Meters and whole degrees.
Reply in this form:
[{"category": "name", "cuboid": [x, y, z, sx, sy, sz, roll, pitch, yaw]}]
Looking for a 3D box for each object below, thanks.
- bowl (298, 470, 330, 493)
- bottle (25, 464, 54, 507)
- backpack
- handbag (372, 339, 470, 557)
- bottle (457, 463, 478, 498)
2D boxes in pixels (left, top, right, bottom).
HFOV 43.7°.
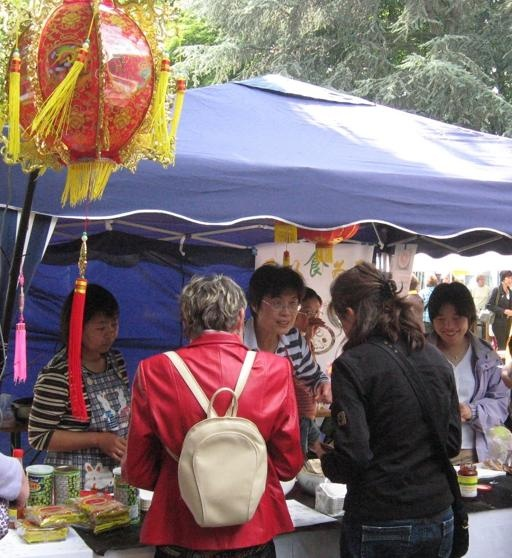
[{"category": "bowl", "cuboid": [0.203, 0.775, 2.459, 0.120, 0.093, 0.088, 3, 0, -20]}, {"category": "bottle", "cuboid": [-0.708, 0.704, 2.122, 0.095, 0.139, 0.087, 0, -3, 0]}, {"category": "backpack", "cuboid": [-0.120, 0.438, 1.835, 0.314, 0.415, 0.475, 1, 2, 2]}, {"category": "handbag", "cuboid": [0.553, 0.524, 2.043, 0.352, 0.613, 0.156, -13, -1, 18]}, {"category": "bottle", "cuboid": [0.830, 0.794, 2.489, 0.083, 0.129, 0.082, 2, -10, 0]}]
